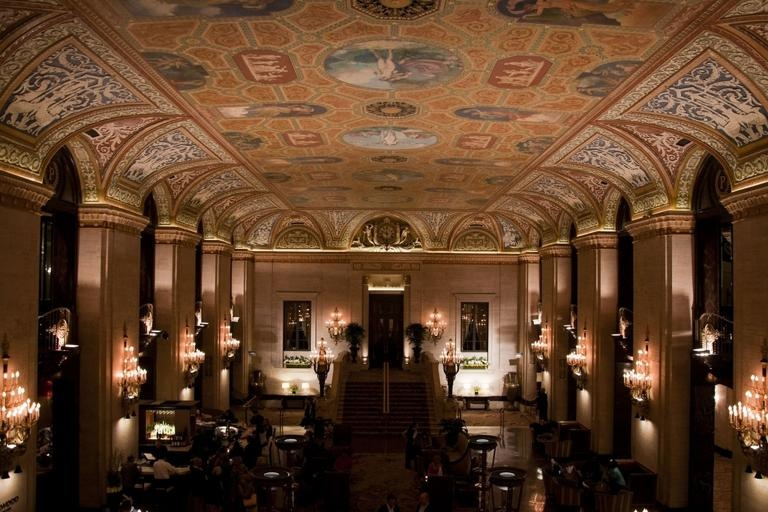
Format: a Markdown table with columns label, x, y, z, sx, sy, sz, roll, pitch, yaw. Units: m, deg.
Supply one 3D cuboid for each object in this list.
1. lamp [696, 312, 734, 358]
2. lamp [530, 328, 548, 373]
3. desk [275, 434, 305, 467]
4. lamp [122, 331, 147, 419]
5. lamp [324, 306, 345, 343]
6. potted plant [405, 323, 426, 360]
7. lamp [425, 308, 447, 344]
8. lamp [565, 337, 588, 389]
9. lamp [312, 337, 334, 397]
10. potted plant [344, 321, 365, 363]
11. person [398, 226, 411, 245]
| label | x | y | z | sx | sy | sz | roll | pitch | yaw |
| --- | --- | --- | --- | --- | --- | --- | --- | --- | --- |
| lamp | 7.874 | 1.892 | 13.444 | 0.813 | 1.041 | 0.814 | -4 | -12 | 26 |
| lamp | 6.367 | 3.840 | 22.874 | 0.587 | 1.777 | 1.351 | -1 | -11 | 12 |
| desk | -2.898 | 6.047 | 17.390 | 0.890 | 0.967 | 2.571 | 3 | -10 | -8 |
| lamp | -6.281 | 3.044 | 14.144 | 0.489 | 2.141 | 0.891 | 3 | -11 | -6 |
| lamp | -2.275 | 3.327 | 26.757 | 1.097 | 1.409 | 0.952 | 1 | 3 | -13 |
| potted plant | 1.518 | 4.104 | 26.513 | 0.892 | 1.795 | 0.561 | 1 | -11 | 1 |
| lamp | 2.456 | 3.358 | 26.864 | 1.223 | 1.416 | 0.984 | 2 | 3 | 1 |
| lamp | 6.419 | 3.525 | 18.659 | 0.505 | 1.815 | 0.918 | -1 | -11 | 11 |
| lamp | -2.735 | 4.919 | 24.974 | 1.383 | 2.466 | 1.176 | 3 | -9 | -19 |
| potted plant | -1.360 | 4.033 | 26.315 | 0.928 | 1.861 | 0.658 | 2 | -11 | -3 |
| person | 1.003 | -0.960 | 27.003 | 0.673 | 0.766 | 0.221 | 19 | 3 | 10 |
